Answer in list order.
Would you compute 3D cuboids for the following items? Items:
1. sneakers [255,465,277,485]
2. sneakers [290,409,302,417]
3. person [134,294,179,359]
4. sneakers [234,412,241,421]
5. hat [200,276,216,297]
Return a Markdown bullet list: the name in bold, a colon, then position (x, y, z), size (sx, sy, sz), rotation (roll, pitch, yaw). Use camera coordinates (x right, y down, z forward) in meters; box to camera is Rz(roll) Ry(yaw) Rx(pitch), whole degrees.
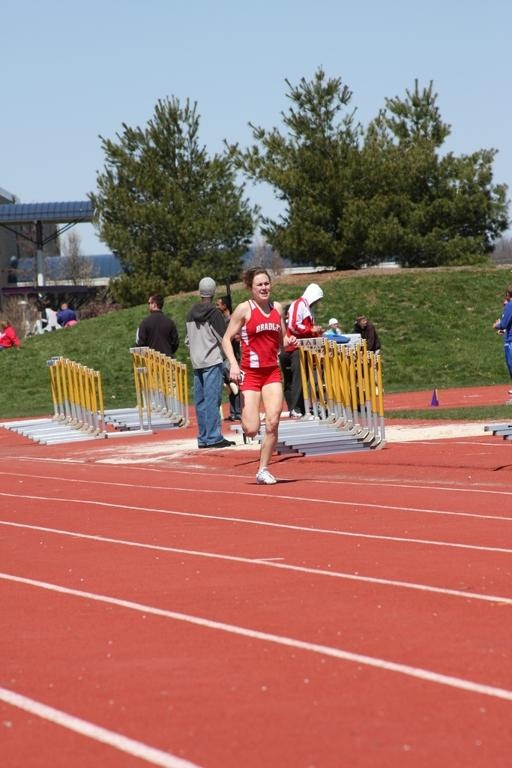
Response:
- **sneakers**: position (0.078, 0.854, 6.699), size (0.088, 0.124, 0.264), rotation (-5, -5, -20)
- **sneakers**: position (0.664, 0.477, 11.543), size (0.082, 0.103, 0.228), rotation (-1, -2, -14)
- **person**: position (-1.648, -0.924, 12.149), size (0.686, 1.049, 0.967), rotation (-4, 5, -10)
- **sneakers**: position (-0.327, 0.615, 13.492), size (0.134, 0.138, 0.247), rotation (-1, -21, 2)
- **hat**: position (-0.689, -1.357, 10.382), size (0.206, 0.240, 0.299), rotation (2, 13, 2)
